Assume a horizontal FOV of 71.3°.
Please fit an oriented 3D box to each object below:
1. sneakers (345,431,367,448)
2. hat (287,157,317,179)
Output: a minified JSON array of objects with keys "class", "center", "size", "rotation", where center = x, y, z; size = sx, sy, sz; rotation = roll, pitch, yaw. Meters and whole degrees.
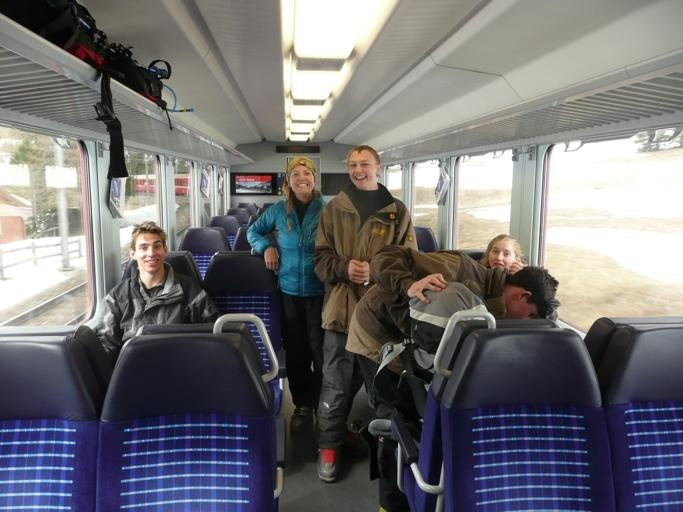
[{"class":"sneakers","center":[0.106,1.415,3.765],"size":[0.174,0.152,0.227],"rotation":[0,-11,2]},{"class":"hat","center":[-0.322,-0.727,3.847],"size":[0.174,0.133,0.215],"rotation":[2,13,-1]}]
